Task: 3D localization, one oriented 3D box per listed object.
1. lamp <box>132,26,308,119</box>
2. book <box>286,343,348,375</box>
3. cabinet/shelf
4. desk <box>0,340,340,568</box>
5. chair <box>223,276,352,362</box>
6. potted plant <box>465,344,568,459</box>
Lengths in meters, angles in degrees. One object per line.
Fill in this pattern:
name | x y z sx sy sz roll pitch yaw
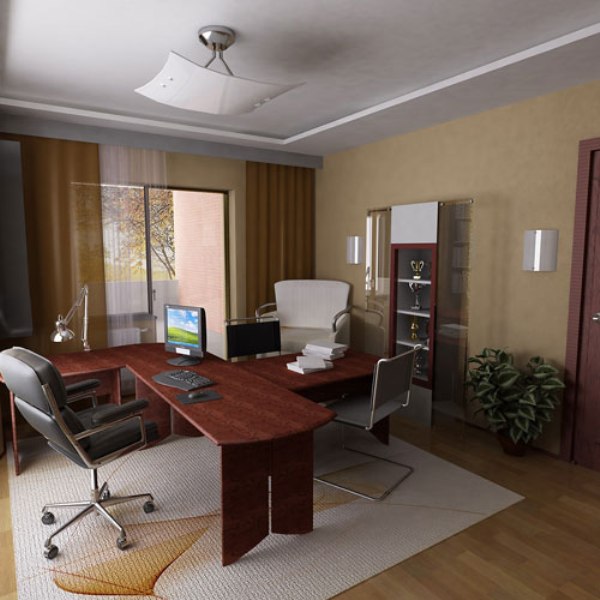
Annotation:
lamp | -0.561 -1.422 2.989 0.761 0.386 0.947 -5 10 -30
book | 0.099 0.429 3.590 0.253 0.058 0.246 -8 12 -42
cabinet/shelf | 1.156 0.128 4.529 0.353 1.289 0.613 -3 6 -28
desk | -0.708 0.751 2.642 1.230 0.873 1.773 -6 11 -38
chair | -0.235 0.147 5.359 1.132 1.221 1.060 1 1 25
potted plant | 1.596 0.751 3.834 0.812 0.751 0.719 0 1 -13
